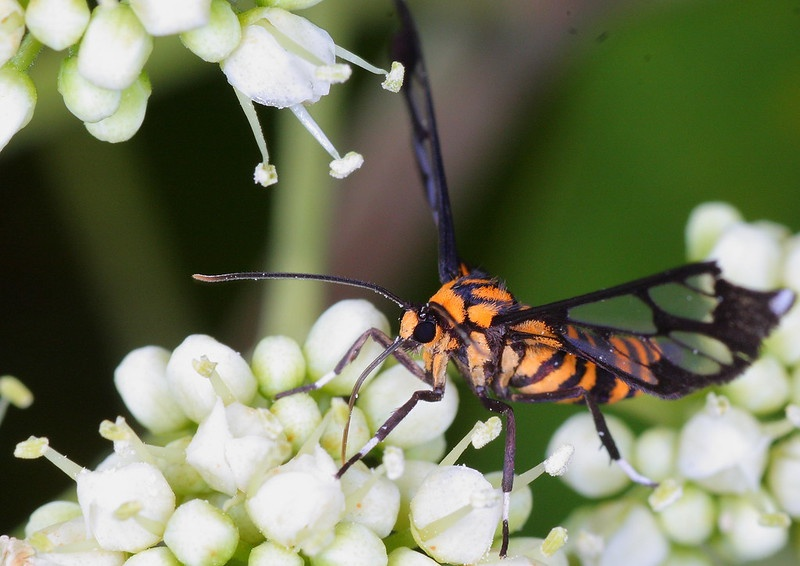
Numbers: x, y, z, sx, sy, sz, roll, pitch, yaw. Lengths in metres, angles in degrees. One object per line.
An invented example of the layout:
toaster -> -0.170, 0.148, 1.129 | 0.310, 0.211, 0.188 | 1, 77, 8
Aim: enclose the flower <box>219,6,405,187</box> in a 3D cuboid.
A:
flower -> -0.283, -0.507, 2.508 | 0.444, 0.484, 0.139 | 31, -21, -11
